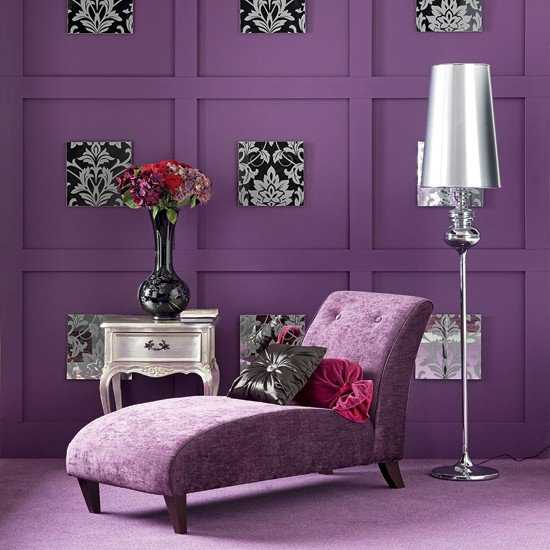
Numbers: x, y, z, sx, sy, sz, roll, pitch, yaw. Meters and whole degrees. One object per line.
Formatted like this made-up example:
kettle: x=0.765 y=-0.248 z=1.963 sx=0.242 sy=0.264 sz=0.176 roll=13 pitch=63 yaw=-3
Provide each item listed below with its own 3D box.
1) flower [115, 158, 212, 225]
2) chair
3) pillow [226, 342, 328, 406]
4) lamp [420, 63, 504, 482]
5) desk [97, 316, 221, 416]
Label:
flower: x=-0.546 y=-0.381 z=3.342 sx=0.416 sy=0.410 sz=0.470 roll=0 pitch=14 yaw=19
chair: x=-0.045 y=0.490 z=2.810 sx=1.392 sy=0.862 sz=0.717 roll=4 pitch=-7 yaw=-37
pillow: x=0.002 y=0.406 z=2.800 sx=0.396 sy=0.094 sz=0.370 roll=-33 pitch=27 yaw=-33
lamp: x=0.887 y=-0.032 z=3.182 sx=0.350 sy=2.005 sz=0.543 roll=1 pitch=4 yaw=19
desk: x=-0.513 y=0.337 z=3.209 sx=0.554 sy=0.592 sz=0.445 roll=-1 pitch=-4 yaw=2
